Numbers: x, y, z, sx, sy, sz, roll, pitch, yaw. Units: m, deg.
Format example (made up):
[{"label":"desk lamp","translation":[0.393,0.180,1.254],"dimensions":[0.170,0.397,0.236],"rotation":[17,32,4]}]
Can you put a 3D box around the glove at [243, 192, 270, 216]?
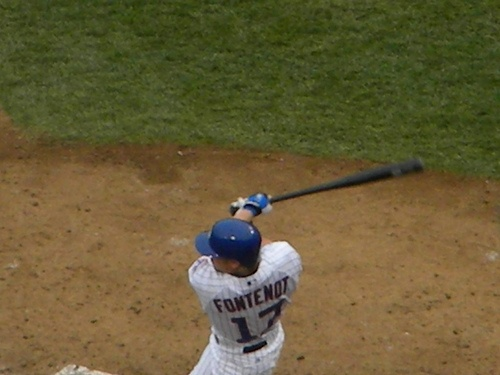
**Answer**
[{"label":"glove","translation":[0.144,0.278,18.031],"dimensions":[0.332,0.224,0.432],"rotation":[7,18,2]}]
